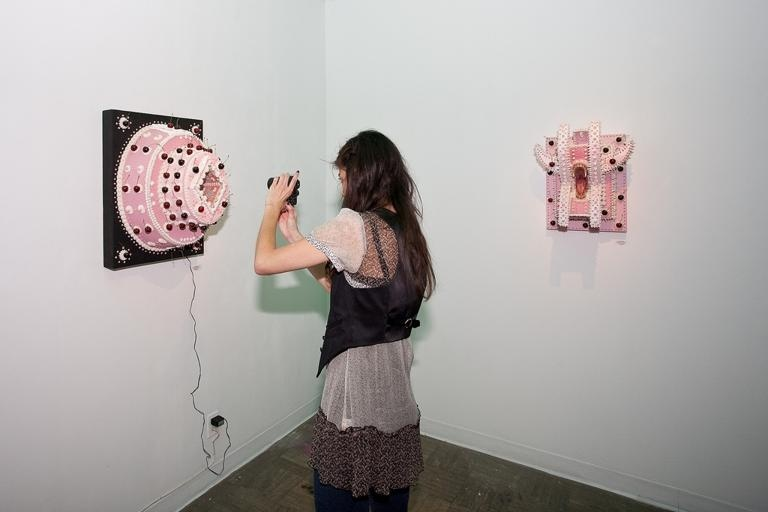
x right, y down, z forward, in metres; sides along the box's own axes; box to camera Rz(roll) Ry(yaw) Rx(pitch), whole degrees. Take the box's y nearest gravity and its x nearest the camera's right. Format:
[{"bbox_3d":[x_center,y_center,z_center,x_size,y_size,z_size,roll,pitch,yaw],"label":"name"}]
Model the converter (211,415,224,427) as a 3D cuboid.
[{"bbox_3d":[-0.971,0.945,3.267,0.054,0.045,0.080,-33,-18,24],"label":"converter"}]
